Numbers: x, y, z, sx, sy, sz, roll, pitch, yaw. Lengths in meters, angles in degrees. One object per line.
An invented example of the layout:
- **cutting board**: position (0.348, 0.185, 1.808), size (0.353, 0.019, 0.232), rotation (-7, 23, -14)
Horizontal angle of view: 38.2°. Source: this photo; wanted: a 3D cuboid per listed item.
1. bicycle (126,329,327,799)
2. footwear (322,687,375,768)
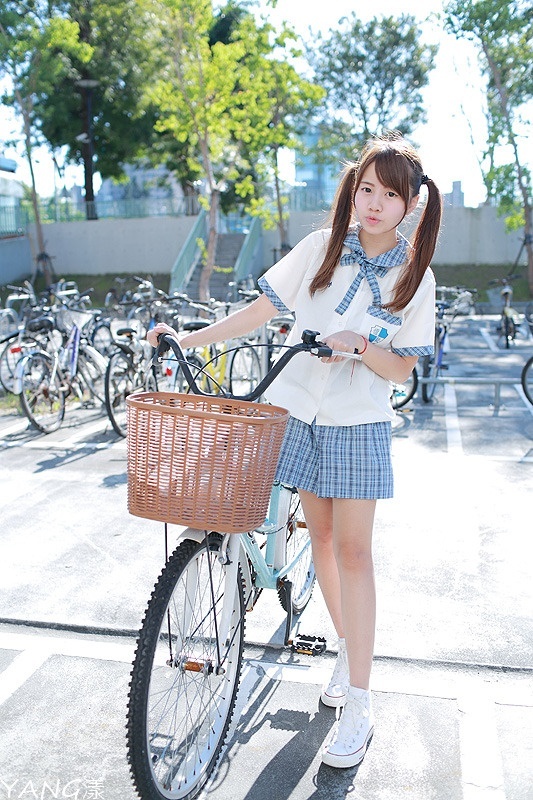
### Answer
- **bicycle**: position (-0.115, 0.421, 2.287), size (0.576, 1.295, 1.159), rotation (0, 11, 2)
- **footwear**: position (0.266, 0.957, 2.309), size (0.105, 0.160, 0.266), rotation (8, 12, 19)
